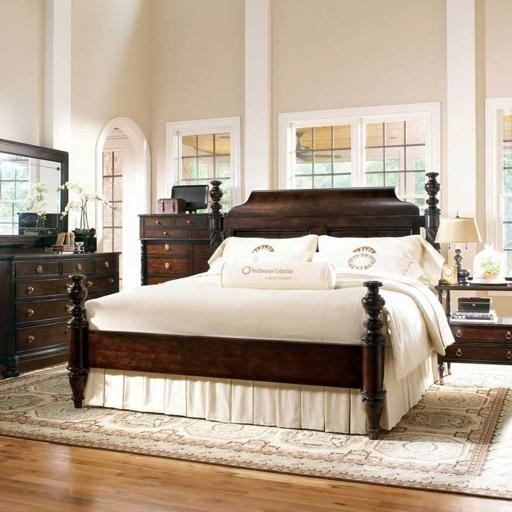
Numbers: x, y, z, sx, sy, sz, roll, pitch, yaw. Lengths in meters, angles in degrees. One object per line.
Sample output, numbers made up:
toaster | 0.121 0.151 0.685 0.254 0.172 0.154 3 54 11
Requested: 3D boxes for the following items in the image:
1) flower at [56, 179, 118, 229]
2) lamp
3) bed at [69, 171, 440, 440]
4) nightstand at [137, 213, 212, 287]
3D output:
flower | -1.642 -0.482 5.117 0.586 0.394 0.204 -5 24 -33
lamp | 1.558 -0.045 4.121 0.402 0.441 0.385 4 -10 -37
bed | 0.262 0.086 3.771 2.148 1.188 2.447 -1 4 19
nightstand | -0.618 -0.025 5.528 1.120 0.800 0.414 1 13 10
